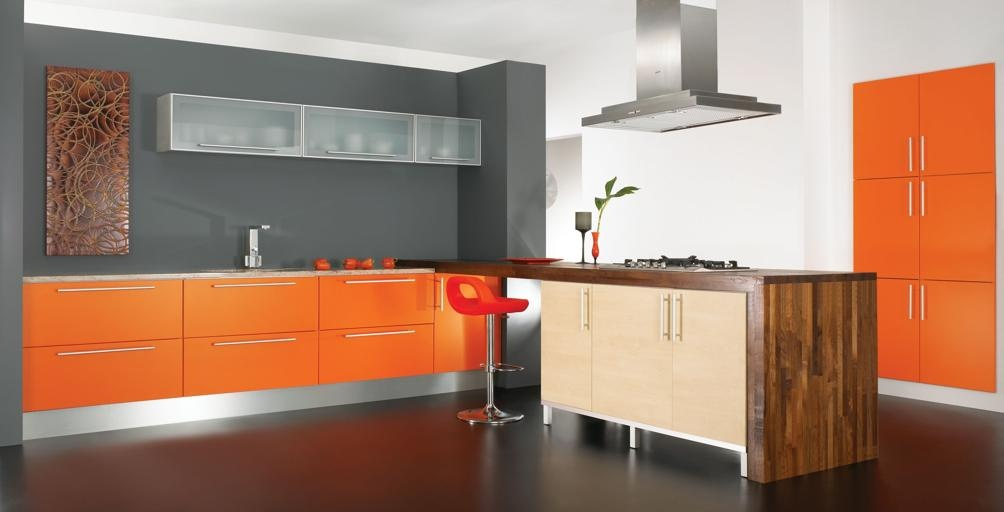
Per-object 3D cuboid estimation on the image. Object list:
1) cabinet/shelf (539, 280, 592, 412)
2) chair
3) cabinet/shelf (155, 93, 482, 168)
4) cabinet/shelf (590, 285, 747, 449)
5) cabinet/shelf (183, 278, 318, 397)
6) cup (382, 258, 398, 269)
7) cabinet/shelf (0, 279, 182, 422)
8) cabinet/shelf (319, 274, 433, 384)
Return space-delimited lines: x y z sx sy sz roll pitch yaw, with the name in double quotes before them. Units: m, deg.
"cabinet/shelf" 0.678 0.922 6.884 0.785 1.299 0.288 11 20 37
"chair" -0.156 0.972 7.531 0.865 1.644 1.340 -2 15 -3
"cabinet/shelf" -2.147 -1.500 8.069 3.663 0.873 0.392 -5 16 -20
"cabinet/shelf" 1.627 1.016 6.243 1.982 1.395 0.683 0 2 39
"cabinet/shelf" -3.006 0.911 7.735 1.534 1.121 0.840 1 1 -31
"cup" -1.425 0.105 8.418 0.135 0.083 0.158 -1 -4 -1
"cabinet/shelf" -4.230 0.976 7.561 2.515 1.654 1.283 1 -4 -21
"cabinet/shelf" -1.786 0.872 8.156 0.981 1.224 1.652 -3 -3 43
